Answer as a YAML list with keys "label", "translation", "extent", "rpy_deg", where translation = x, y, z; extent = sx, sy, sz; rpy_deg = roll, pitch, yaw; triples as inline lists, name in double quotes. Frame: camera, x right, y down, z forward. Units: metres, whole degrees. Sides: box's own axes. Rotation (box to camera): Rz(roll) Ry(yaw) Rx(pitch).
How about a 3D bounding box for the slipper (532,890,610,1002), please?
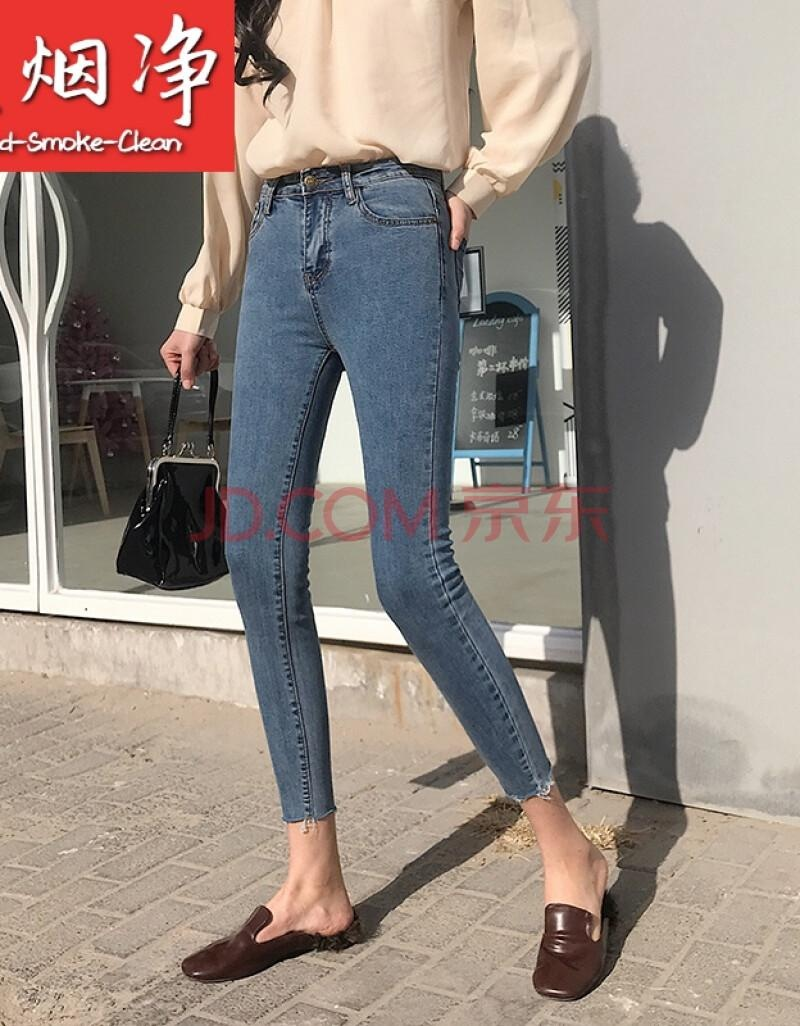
- label: "slipper"
  translation: [0.262, 0.665, 1.511]
  extent: [0.072, 0.056, 0.181]
  rpy_deg: [-1, 14, 19]

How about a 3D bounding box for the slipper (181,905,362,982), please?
- label: "slipper"
  translation: [-0.229, 0.717, 1.644]
  extent: [0.318, 0.103, 0.102]
  rpy_deg: [-4, -6, -21]

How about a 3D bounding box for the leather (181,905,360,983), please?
- label: "leather"
  translation: [-0.226, 0.717, 1.646]
  extent: [0.316, 0.102, 0.102]
  rpy_deg: [-4, -6, -20]

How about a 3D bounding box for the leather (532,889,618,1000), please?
- label: "leather"
  translation: [0.275, 0.654, 1.547]
  extent: [0.106, 0.091, 0.280]
  rpy_deg: [6, 21, 16]
